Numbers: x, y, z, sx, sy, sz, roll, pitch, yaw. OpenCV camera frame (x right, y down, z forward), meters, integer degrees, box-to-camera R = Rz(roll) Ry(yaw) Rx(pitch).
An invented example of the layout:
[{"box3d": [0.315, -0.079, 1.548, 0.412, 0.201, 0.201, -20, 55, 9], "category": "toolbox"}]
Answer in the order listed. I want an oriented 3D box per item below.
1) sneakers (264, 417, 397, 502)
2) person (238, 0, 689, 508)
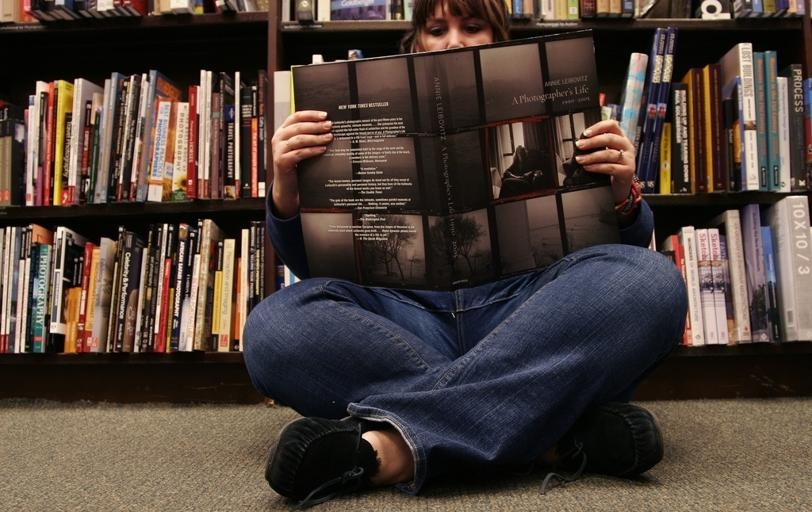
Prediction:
[{"box3d": [-0.170, 0.408, 1.439, 0.264, 0.123, 0.109, -8, 28, -9], "category": "sneakers"}, {"box3d": [0.130, 0.079, 1.923, 1.149, 1.326, 1.091, -3, -12, 6], "category": "person"}]
